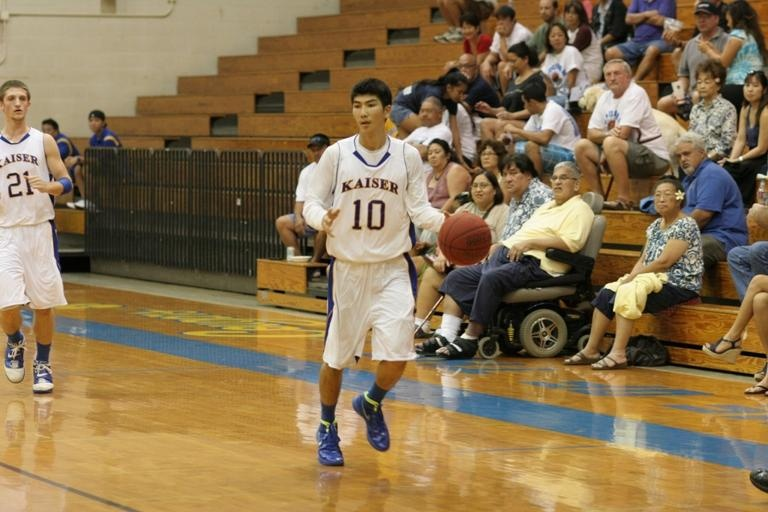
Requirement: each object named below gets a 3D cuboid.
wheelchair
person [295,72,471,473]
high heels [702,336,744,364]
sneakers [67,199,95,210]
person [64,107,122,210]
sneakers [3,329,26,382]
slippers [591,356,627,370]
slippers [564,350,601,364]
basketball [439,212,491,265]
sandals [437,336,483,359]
[{"bbox_3d":[1.367,0.104,7.724,1.121,1.644,0.937,5,-1,-29],"label":"wheelchair"},{"bbox_3d":[-0.104,0.105,4.627,1.065,2.291,1.002,0,-2,27],"label":"person"},{"bbox_3d":[2.856,0.778,6.620,0.335,0.223,0.172,9,4,14],"label":"high heels"},{"bbox_3d":[-5.219,-0.888,13.582,0.443,0.163,0.248,2,-4,-5],"label":"sneakers"},{"bbox_3d":[-5.056,-1.629,13.638,0.658,1.711,1.245,8,10,42],"label":"person"},{"bbox_3d":[-2.922,0.777,6.257,0.161,0.406,0.172,-1,-1,-21],"label":"sneakers"},{"bbox_3d":[2.008,0.956,7.074,0.329,0.100,0.122,2,-3,-16],"label":"slippers"},{"bbox_3d":[1.809,0.921,7.226,0.356,0.102,0.128,0,-4,-20],"label":"slippers"},{"bbox_3d":[0.507,-0.110,4.929,0.428,0.402,0.221,0,2,-1],"label":"basketball"},{"bbox_3d":[0.708,0.868,7.373,0.458,0.190,0.160,1,-5,-19],"label":"sandals"}]
